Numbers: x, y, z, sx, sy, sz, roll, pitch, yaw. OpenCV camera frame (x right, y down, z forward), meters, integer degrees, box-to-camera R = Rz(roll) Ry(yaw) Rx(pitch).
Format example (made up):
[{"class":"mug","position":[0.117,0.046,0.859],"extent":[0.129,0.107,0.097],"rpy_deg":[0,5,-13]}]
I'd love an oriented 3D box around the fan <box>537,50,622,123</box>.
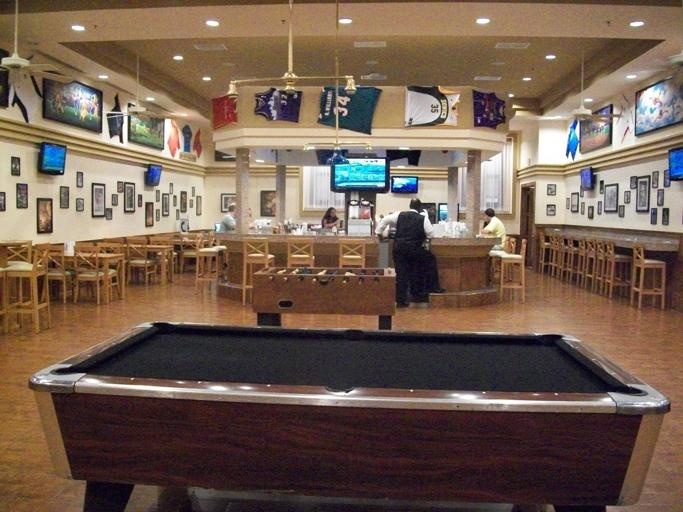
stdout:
[{"class":"fan","position":[4.792,-3.375,10.259],"extent":[1.449,1.347,1.323],"rpy_deg":[6,12,32]}]

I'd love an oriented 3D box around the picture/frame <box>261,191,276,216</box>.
[{"class":"picture/frame","position":[-2.393,-1.698,16.531],"extent":[0.449,0.846,0.177],"rpy_deg":[2,10,15]}]

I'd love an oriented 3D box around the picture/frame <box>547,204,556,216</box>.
[{"class":"picture/frame","position":[5.851,-1.299,14.289],"extent":[0.331,0.357,0.026],"rpy_deg":[2,6,4]}]

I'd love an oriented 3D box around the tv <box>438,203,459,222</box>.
[{"class":"tv","position":[2.657,-1.075,12.749],"extent":[0.500,0.447,0.888],"rpy_deg":[1,1,6]}]

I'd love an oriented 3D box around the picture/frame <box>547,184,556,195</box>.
[{"class":"picture/frame","position":[5.789,-1.868,14.174],"extent":[0.323,0.385,0.040],"rpy_deg":[1,10,5]}]

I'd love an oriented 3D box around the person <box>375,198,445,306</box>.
[{"class":"person","position":[1.120,-0.067,8.699],"extent":[0.878,1.802,0.625],"rpy_deg":[3,11,19]}]

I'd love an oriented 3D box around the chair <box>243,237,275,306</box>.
[{"class":"chair","position":[-1.416,0.245,8.645],"extent":[0.564,1.114,1.110],"rpy_deg":[-3,10,-10]}]

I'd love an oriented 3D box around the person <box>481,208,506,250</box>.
[{"class":"person","position":[3.001,-0.546,10.129],"extent":[0.469,0.807,2.241],"rpy_deg":[2,10,18]}]

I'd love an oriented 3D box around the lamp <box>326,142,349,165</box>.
[{"class":"lamp","position":[-0.068,-1.654,8.275],"extent":[0.306,0.322,0.791],"rpy_deg":[-1,10,-2]}]

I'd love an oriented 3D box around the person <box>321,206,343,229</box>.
[{"class":"person","position":[-0.232,-0.869,11.460],"extent":[0.344,0.418,0.822],"rpy_deg":[-1,10,1]}]

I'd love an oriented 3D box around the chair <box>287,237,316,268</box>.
[{"class":"chair","position":[-0.669,-0.070,8.479],"extent":[0.449,0.662,0.486],"rpy_deg":[1,9,1]}]

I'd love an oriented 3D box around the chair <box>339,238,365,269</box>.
[{"class":"chair","position":[0.191,-0.057,8.463],"extent":[0.393,0.457,0.468],"rpy_deg":[0,10,4]}]
